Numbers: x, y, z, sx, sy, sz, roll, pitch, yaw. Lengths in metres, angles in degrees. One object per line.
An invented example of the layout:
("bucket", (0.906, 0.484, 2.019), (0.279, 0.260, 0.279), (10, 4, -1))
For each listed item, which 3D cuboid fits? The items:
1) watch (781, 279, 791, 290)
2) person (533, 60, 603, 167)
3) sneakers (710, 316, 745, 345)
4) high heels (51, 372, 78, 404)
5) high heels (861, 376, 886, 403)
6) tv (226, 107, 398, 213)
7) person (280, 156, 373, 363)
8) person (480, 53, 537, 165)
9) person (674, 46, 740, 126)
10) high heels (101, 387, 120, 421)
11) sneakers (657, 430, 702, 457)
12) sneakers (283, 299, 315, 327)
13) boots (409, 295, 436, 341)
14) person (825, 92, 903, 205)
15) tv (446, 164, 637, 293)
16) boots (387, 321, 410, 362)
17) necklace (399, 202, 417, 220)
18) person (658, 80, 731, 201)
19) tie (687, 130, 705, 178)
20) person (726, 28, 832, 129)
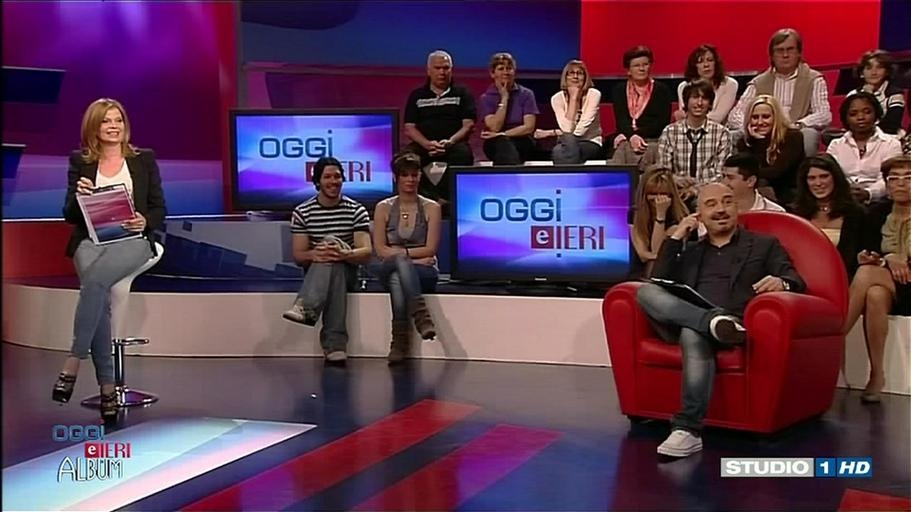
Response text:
("watch", (2.212, 0.191, 4.189), (0.052, 0.068, 0.028), (-38, -17, 33))
("person", (1.236, -1.596, 6.831), (0.668, 1.104, 0.809), (5, 12, 27))
("sneakers", (1.664, 0.456, 3.836), (0.252, 0.126, 0.163), (23, -13, -8))
("high heels", (-2.676, 0.903, 4.283), (0.124, 0.218, 0.076), (2, 12, 13))
("high heels", (3.089, 1.002, 4.623), (0.098, 0.102, 0.285), (-3, 3, 37))
("tv", (-1.437, -1.018, 6.545), (1.330, 0.725, 0.122), (0, 0, 2))
("person", (-1.128, 0.035, 5.651), (0.704, 1.819, 0.591), (-2, 11, -7))
("person", (0.599, -1.676, 7.004), (0.640, 1.228, 0.635), (0, 11, 2))
("person", (2.750, -1.868, 6.905), (0.725, 0.838, 0.510), (1, 19, 22))
("high heels", (-2.407, 1.042, 4.390), (0.096, 0.250, 0.104), (-5, 1, -18))
("sneakers", (1.370, 1.148, 3.856), (0.311, 0.110, 0.120), (2, -2, -31))
("sneakers", (-1.361, 0.499, 5.450), (0.223, 0.220, 0.180), (2, 11, 12))
("boots", (-0.279, 0.576, 5.543), (0.227, 0.440, 0.348), (-1, 11, -2))
("person", (3.767, -1.020, 5.843), (0.712, 0.964, 0.749), (-13, 14, -17))
("tv", (0.831, -0.271, 5.660), (1.336, 0.728, 0.128), (0, 2, 8))
("boots", (-0.514, 0.763, 5.627), (0.133, 0.380, 0.272), (7, 13, 34))
("necklace", (-0.438, -0.418, 5.799), (0.182, 0.154, 0.041), (1, -6, 3))
("person", (2.264, -1.062, 5.948), (0.824, 1.178, 0.669), (-2, 15, -7))
("tie", (2.276, -0.981, 5.958), (0.192, 0.484, 0.129), (3, 12, 18))
("person", (3.423, -1.752, 6.608), (0.952, 1.173, 0.913), (2, 30, 27))
